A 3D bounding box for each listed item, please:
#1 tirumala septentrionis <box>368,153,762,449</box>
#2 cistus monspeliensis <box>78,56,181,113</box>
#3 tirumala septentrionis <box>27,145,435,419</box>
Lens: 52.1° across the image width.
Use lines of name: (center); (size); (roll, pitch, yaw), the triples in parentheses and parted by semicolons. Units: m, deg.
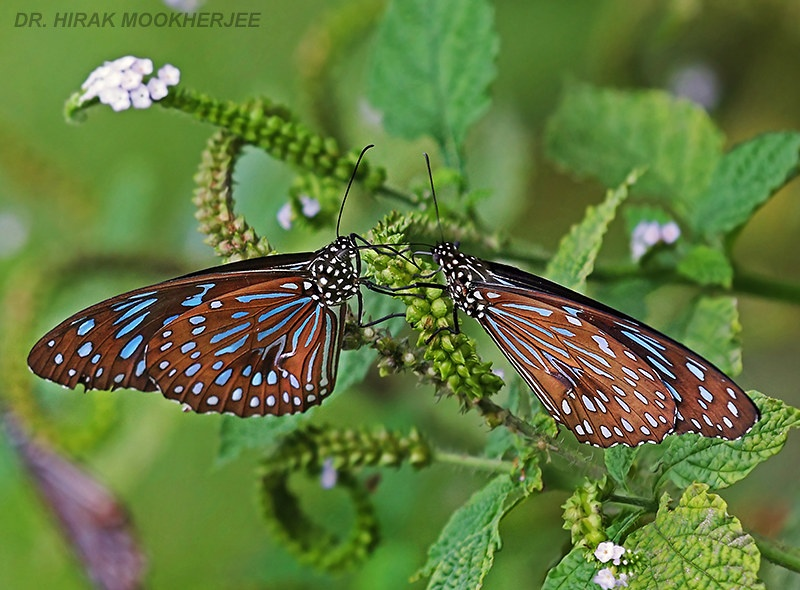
tirumala septentrionis: (0.558, 0.213, 2.587); (1.061, 0.345, 0.281); (31, 59, 21)
cistus monspeliensis: (-0.874, -0.672, 2.666); (0.324, 0.160, 0.215); (-12, 54, -10)
tirumala septentrionis: (-0.467, -0.021, 3.048); (1.447, 0.883, 0.579); (-20, 10, 5)
